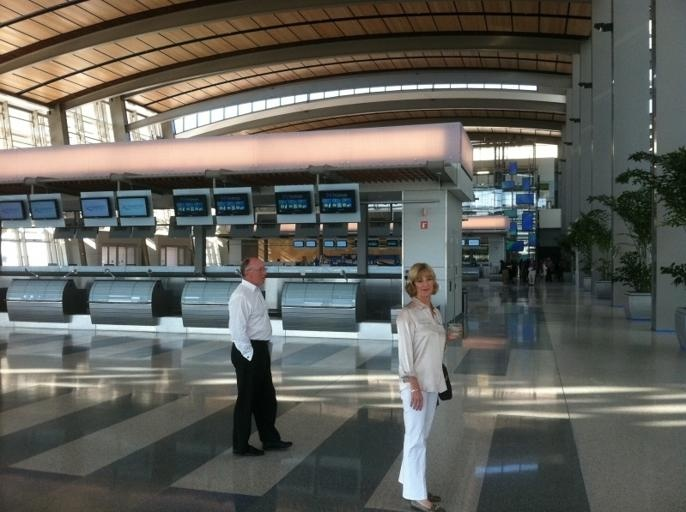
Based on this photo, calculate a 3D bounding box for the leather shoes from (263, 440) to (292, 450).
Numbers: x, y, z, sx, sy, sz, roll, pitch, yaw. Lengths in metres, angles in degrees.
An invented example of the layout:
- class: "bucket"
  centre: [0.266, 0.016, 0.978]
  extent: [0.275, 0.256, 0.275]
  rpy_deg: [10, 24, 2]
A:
- class: "leather shoes"
  centre: [-0.748, 2.181, 6.844]
  extent: [0.339, 0.126, 0.115]
  rpy_deg: [-1, 4, -1]

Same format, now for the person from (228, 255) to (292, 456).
- class: "person"
  centre: [-0.964, 1.126, 6.813]
  extent: [0.639, 2.234, 0.445]
  rpy_deg: [-2, 6, -17]

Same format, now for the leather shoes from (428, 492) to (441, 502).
- class: "leather shoes"
  centre: [0.885, 2.367, 5.855]
  extent: [0.153, 0.054, 0.049]
  rpy_deg: [2, 20, 5]

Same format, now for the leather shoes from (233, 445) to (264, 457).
- class: "leather shoes"
  centre: [-1.048, 2.199, 6.759]
  extent: [0.363, 0.130, 0.127]
  rpy_deg: [-1, 1, -4]

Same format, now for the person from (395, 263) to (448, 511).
- class: "person"
  centre: [0.777, 1.256, 5.742]
  extent: [0.490, 2.367, 0.399]
  rpy_deg: [-2, 5, -13]
